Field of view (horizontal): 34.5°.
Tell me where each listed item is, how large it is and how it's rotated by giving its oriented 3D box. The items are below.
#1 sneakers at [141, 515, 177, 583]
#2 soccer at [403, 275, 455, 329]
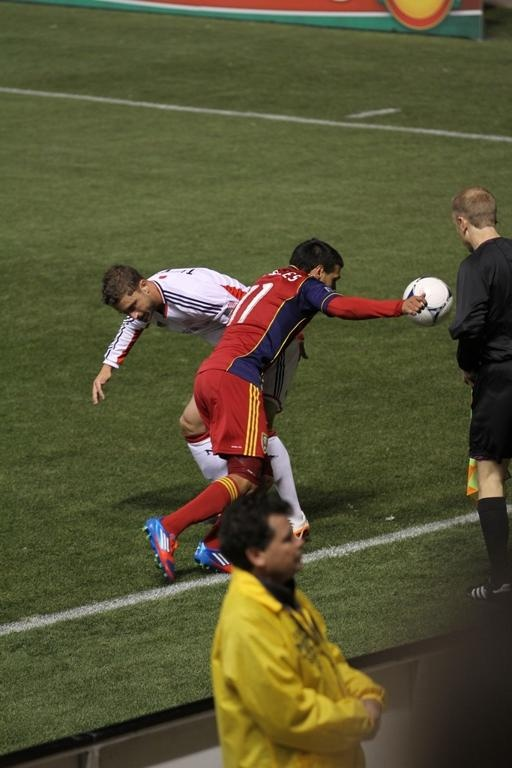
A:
[{"bbox_3d":[-0.396,0.701,3.475,0.112,0.303,0.165,-7,10,-8],"label":"sneakers"},{"bbox_3d":[0.773,-0.381,3.622,0.261,0.219,0.230,5,-14,14],"label":"soccer"}]
